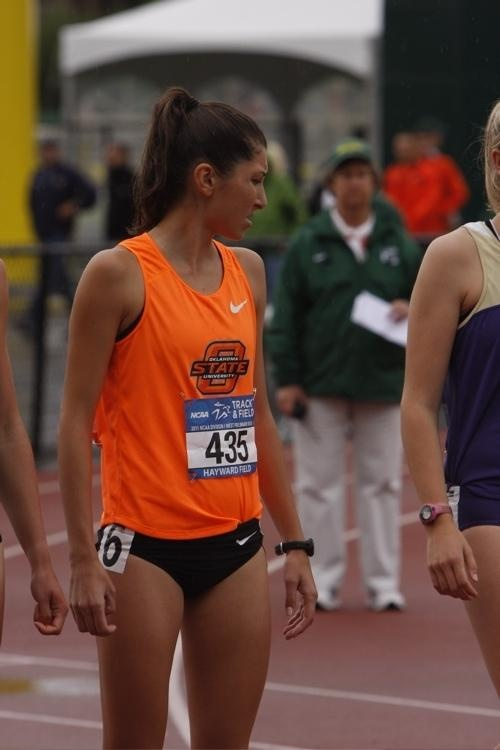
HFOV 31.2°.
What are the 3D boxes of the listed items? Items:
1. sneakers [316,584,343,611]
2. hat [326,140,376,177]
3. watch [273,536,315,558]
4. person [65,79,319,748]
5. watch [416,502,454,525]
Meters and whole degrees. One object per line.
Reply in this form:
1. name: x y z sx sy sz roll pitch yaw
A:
1. sneakers: 0.393 1.145 4.564 0.157 0.113 0.063 -1 1 -32
2. hat: 0.518 -1.142 4.627 0.240 0.173 0.390 2 -4 0
3. watch: 0.092 0.364 1.915 0.051 0.027 0.051 -2 2 -11
4. person: -0.111 0.077 1.760 0.569 1.297 0.290 -1 1 -31
5. watch: 0.348 0.256 1.689 0.044 0.043 0.045 4 1 -6
